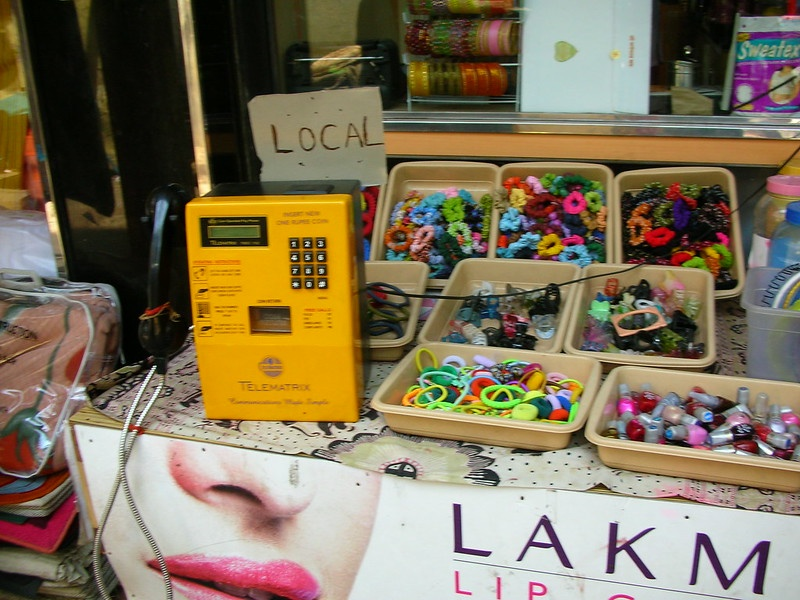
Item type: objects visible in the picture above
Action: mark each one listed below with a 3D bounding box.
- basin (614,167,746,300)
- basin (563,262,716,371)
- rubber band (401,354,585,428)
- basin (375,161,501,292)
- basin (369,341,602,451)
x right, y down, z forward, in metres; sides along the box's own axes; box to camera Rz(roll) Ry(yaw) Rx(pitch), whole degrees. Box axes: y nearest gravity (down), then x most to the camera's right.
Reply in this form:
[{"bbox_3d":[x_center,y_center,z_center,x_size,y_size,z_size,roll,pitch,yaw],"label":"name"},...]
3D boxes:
[{"bbox_3d":[0.805,-0.193,1.855,0.500,0.361,0.145,3,-17,11],"label":"basin"},{"bbox_3d":[0.616,0.044,1.579,0.411,0.077,0.285,3,47,20],"label":"basin"},{"bbox_3d":[0.189,0.178,1.358,0.331,0.037,0.148,1,27,14],"label":"rubber band"},{"bbox_3d":[0.117,-0.211,1.987,0.514,0.108,0.389,4,61,15],"label":"basin"},{"bbox_3d":[0.170,0.203,1.288,0.440,0.056,0.232,4,29,17],"label":"basin"}]
